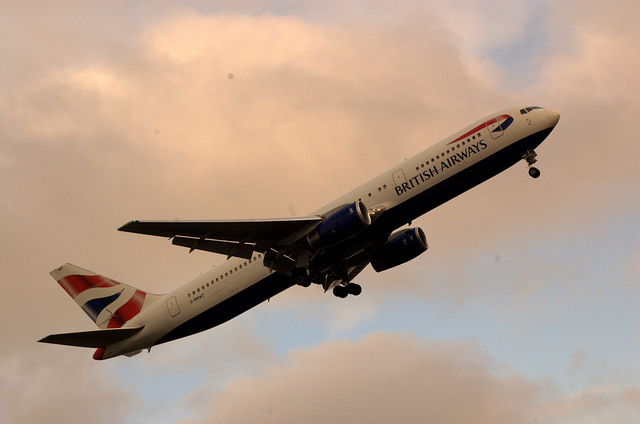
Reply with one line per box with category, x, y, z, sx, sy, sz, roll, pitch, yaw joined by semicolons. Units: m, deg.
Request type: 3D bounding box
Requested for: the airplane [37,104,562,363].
airplane;-0.762;1.826;59.603;18.264;5.902;16.905;-29;-14;5
